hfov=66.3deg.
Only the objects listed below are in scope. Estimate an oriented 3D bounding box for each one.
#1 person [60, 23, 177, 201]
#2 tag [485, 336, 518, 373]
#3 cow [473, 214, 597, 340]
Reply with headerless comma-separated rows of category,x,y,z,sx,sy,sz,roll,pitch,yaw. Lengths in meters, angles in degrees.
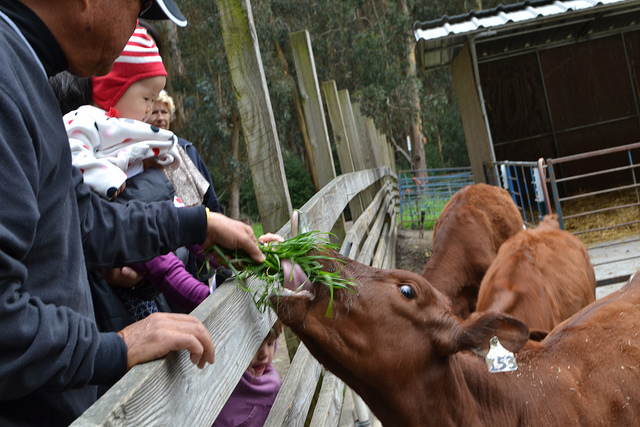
person,-1.140,-0.515,2.849,0.479,1.122,0.637,2,0,4
tag,0.940,0.762,2.561,0.158,0.063,0.250,-12,28,7
cow,1.875,0.576,4.274,0.617,1.141,1.860,-12,7,32
